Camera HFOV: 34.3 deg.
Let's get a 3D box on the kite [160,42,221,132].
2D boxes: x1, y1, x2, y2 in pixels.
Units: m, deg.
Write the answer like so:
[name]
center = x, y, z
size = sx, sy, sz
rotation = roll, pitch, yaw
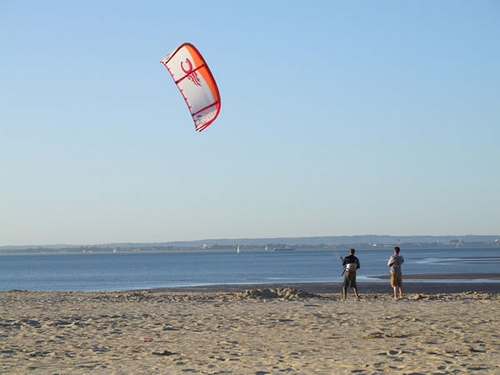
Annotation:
[kite]
center = -1.351, -2.342, 19.116
size = 1.154, 1.952, 0.638
rotation = -1, -6, -15
